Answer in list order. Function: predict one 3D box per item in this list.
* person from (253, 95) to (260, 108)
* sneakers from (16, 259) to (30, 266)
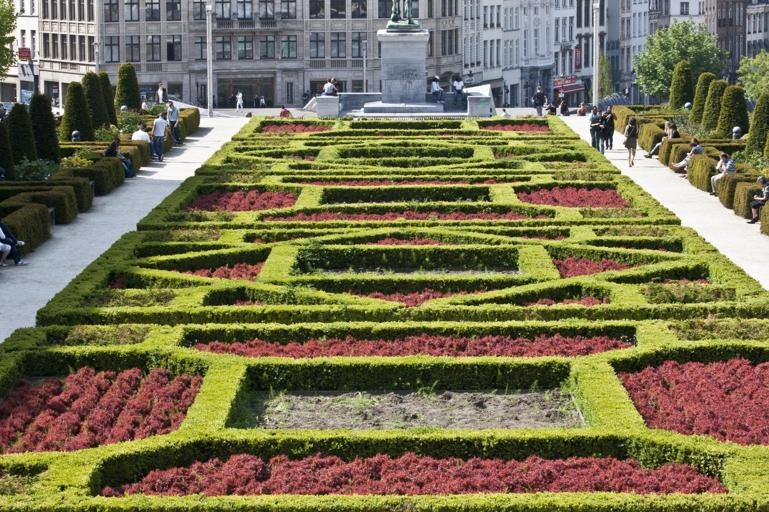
[{"bbox_3d":[-8.736,-10.571,96.990,0.488,0.622,0.845,-4,16,-6],"label":"person"},{"bbox_3d":[-9.258,0.215,36.403,0.212,0.104,0.304,-2,5,-32],"label":"sneakers"}]
